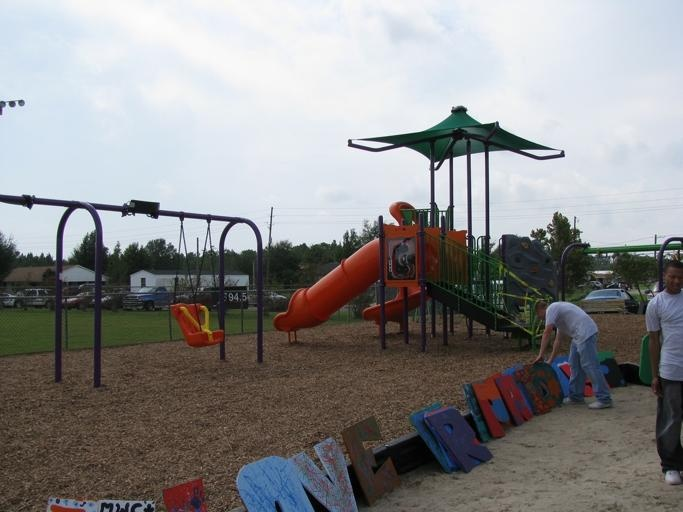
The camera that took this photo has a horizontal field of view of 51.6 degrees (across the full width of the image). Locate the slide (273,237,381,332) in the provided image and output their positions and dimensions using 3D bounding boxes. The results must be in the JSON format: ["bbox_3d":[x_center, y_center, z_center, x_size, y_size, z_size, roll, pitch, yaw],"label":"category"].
[{"bbox_3d":[-0.201,0.759,17.301,2.626,2.363,0.609,2,5,24],"label":"slide"}]

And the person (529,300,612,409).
[{"bbox_3d":[3.405,1.444,10.503,0.641,1.651,1.050,3,-10,-43],"label":"person"}]
